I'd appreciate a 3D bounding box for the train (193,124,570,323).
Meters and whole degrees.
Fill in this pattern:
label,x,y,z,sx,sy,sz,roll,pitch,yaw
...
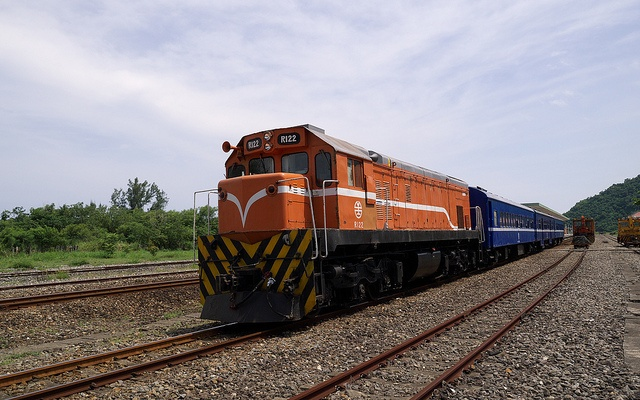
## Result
label,x,y,z,sx,sy,sz,roll,pitch,yaw
train,5.736,1.173,19.962,5.158,6.108,26.467,-6,-7,32
